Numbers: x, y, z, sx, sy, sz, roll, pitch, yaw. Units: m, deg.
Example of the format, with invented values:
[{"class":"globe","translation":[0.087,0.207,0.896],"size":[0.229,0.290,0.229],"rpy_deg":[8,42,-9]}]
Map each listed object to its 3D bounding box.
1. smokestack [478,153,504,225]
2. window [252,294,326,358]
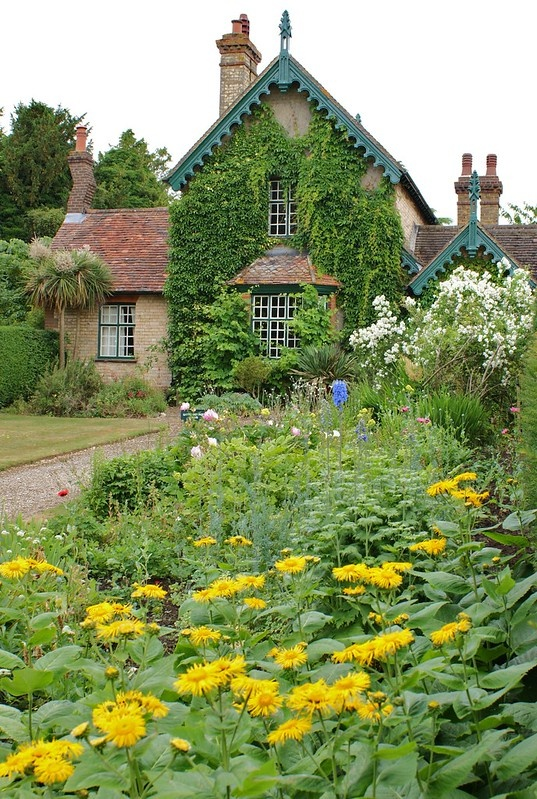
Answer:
[{"class":"smokestack","translation":[6.957,-6.428,23.339],"size":[1.000,2.227,0.939],"rpy_deg":[1,20,17]},{"class":"window","translation":[0.468,-1.641,16.526],"size":[1.642,1.594,0.091],"rpy_deg":[1,4,19]}]
